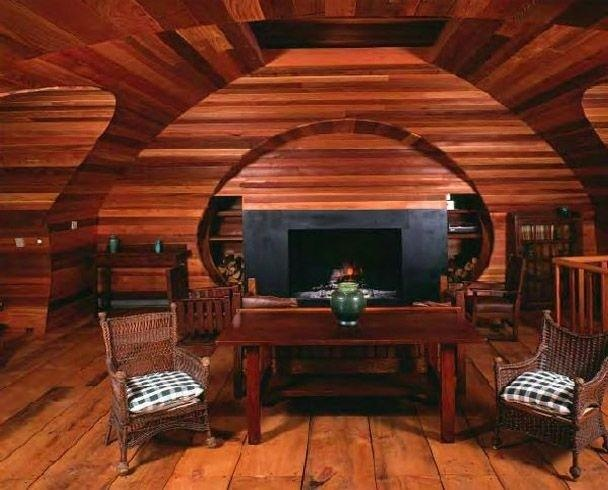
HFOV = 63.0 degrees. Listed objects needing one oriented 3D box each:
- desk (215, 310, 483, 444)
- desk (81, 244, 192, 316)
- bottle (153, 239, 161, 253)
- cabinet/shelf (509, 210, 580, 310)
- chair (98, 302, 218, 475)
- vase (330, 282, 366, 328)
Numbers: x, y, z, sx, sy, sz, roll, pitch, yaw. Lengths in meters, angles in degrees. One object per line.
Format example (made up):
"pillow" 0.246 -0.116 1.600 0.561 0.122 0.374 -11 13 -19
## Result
"desk" 0.365 0.933 3.805 1.876 0.743 0.940 -1 14 1
"desk" -2.105 0.400 6.240 1.441 0.703 0.493 0 1 2
"bottle" -1.879 0.008 6.394 0.085 0.150 0.143 -4 15 -7
"cabinet/shelf" 3.037 0.175 6.303 0.941 1.282 0.331 -4 17 -8
"chair" -1.049 0.958 3.517 0.671 0.891 0.821 -8 16 -21
"vase" 0.310 0.449 3.730 0.310 0.230 0.250 0 -5 -3
